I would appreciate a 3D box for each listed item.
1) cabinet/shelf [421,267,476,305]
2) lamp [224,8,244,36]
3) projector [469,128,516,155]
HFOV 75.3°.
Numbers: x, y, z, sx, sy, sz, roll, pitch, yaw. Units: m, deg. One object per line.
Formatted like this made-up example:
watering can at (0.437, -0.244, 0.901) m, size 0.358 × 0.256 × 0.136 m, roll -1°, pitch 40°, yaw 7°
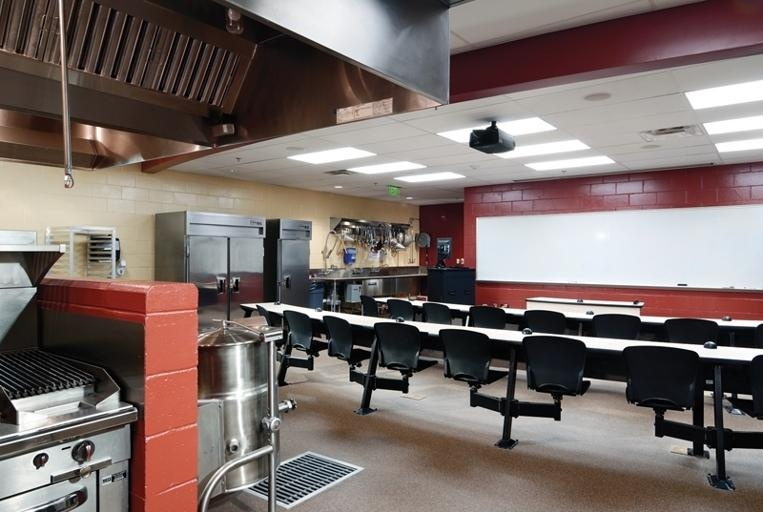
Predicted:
cabinet/shelf at (1.329, 0.588, 10.178) m, size 1.199 × 1.066 × 0.713 m, roll 2°, pitch -5°, yaw -36°
lamp at (-0.754, -1.188, 2.531) m, size 0.085 × 0.097 × 0.135 m, roll -2°, pitch 6°, yaw -16°
projector at (1.316, -1.276, 5.629) m, size 0.285 × 0.137 × 0.397 m, roll -2°, pitch -6°, yaw 43°
